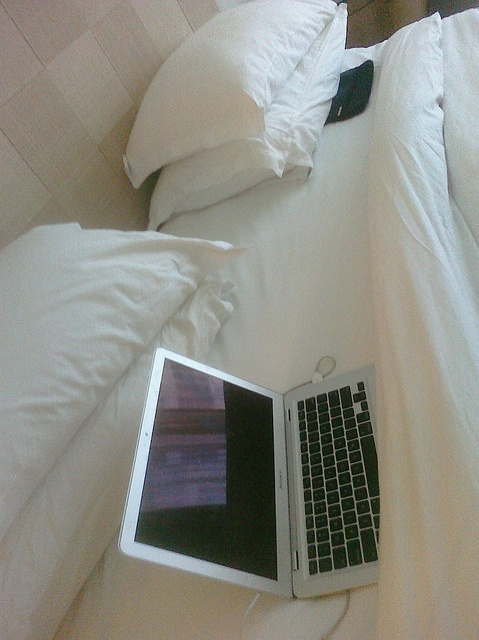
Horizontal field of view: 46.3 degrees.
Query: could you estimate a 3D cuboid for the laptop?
[{"bbox_3d":[0.035,0.221,0.867,0.349,0.260,0.412,-2,38,13],"label":"laptop"}]
